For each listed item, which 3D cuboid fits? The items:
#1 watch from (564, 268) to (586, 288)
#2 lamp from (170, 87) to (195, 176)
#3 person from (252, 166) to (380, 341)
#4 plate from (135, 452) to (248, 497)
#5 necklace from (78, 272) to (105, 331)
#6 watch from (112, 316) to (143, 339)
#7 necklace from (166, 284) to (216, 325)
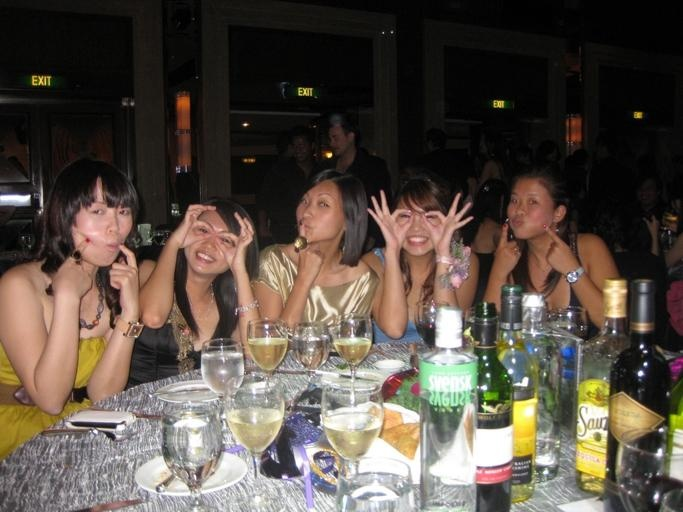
[{"bbox_3d":[1.211,0.101,2.785,0.101,0.070,0.097,-38,-16,12],"label":"watch"},{"bbox_3d":[-2.050,-1.622,6.957,0.228,1.040,0.717,-2,7,-16],"label":"lamp"},{"bbox_3d":[-0.116,-0.028,3.145,0.592,1.252,0.825,7,1,14],"label":"person"},{"bbox_3d":[-0.364,0.527,1.304,0.267,0.032,0.146,-1,7,-7],"label":"plate"},{"bbox_3d":[-1.086,0.232,2.319,0.119,0.162,0.037,4,-1,14],"label":"necklace"},{"bbox_3d":[-0.849,0.290,2.154,0.101,0.074,0.108,9,0,3],"label":"watch"},{"bbox_3d":[-0.735,0.229,2.510,0.123,0.179,0.061,-6,-5,-25],"label":"necklace"}]
